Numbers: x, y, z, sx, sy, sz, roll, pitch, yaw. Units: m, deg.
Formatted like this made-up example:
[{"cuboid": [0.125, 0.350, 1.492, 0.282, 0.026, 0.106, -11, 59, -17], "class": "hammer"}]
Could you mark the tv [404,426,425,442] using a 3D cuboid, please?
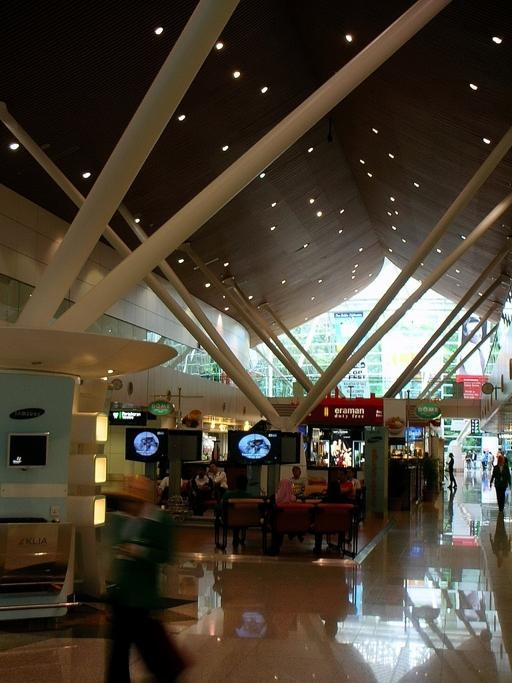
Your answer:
[{"cuboid": [10.269, 6.027, 34.725, 1.890, 1.015, 0.545, 14, -18, -41], "class": "tv"}]

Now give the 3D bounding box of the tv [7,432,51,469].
[{"cuboid": [-2.479, 1.173, 5.748, 0.384, 0.340, 0.043, 6, -17, -33], "class": "tv"}]

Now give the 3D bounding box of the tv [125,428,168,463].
[{"cuboid": [-3.809, 3.555, 18.555, 1.569, 1.102, 0.577, -2, -14, 19], "class": "tv"}]

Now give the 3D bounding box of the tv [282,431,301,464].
[{"cuboid": [1.002, 3.108, 15.855, 0.447, 0.951, 1.586, 0, -13, 10], "class": "tv"}]
